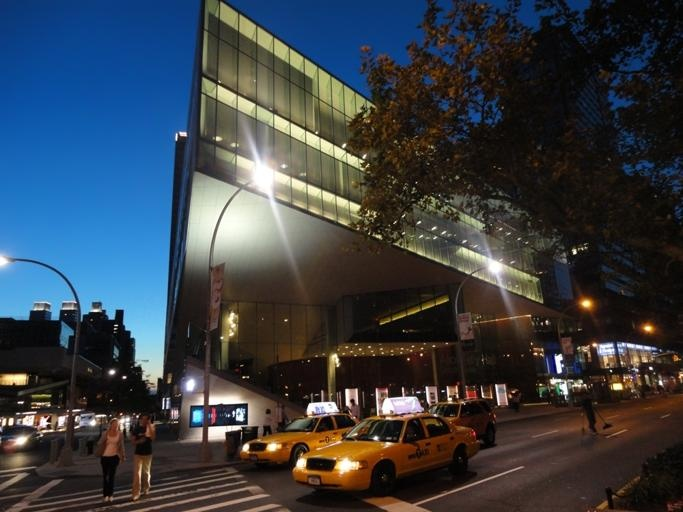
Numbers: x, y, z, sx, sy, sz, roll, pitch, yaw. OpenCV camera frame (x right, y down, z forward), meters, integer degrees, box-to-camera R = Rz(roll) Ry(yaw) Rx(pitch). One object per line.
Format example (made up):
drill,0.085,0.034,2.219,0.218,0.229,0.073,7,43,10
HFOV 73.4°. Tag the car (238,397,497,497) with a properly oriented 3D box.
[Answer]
car,1.551,5.604,13.859,5.384,1.710,2.348,18,-26,-39

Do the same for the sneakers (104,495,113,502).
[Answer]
sneakers,-7.006,7.306,13.803,0.109,0.150,0.365,6,-20,-17
